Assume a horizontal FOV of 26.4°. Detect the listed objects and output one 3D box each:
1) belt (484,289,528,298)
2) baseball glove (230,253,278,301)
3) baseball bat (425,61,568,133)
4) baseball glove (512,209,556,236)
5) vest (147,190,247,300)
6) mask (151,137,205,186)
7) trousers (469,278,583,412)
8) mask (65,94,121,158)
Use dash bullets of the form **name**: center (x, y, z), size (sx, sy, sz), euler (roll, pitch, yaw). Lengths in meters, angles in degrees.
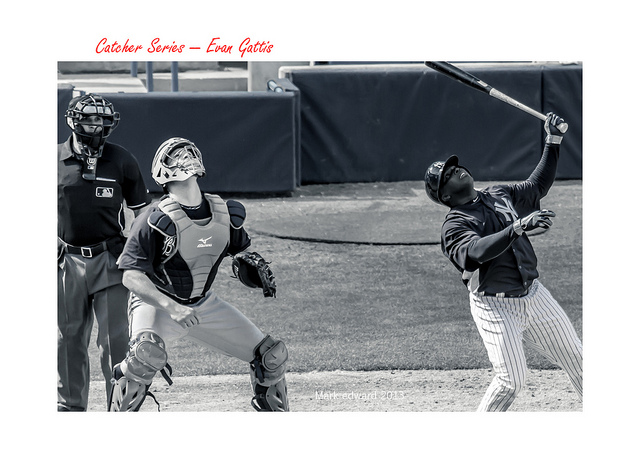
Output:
- **belt**: center (1.900, 0.584, 13.972), size (0.444, 0.062, 0.086), euler (-6, -4, 4)
- **baseball glove**: center (-0.677, 0.368, 14.179), size (0.507, 0.364, 0.217), euler (32, 39, 13)
- **baseball bat**: center (1.688, -1.711, 15.104), size (1.323, 0.136, 0.144), euler (30, 11, 33)
- **baseball glove**: center (2.119, -0.128, 13.571), size (0.371, 0.238, 0.135), euler (-24, -25, -1)
- **vest**: center (-1.248, 0.092, 13.895), size (0.959, 1.023, 0.288), euler (-5, -4, -11)
- **mask**: center (-1.394, -0.735, 14.012), size (0.542, 0.468, 0.409), euler (-48, -26, 20)
- **trousers**: center (2.116, 1.097, 14.057), size (1.109, 0.921, 0.297), euler (-5, -4, -10)
- **mask**: center (-2.435, -1.246, 14.530), size (0.433, 0.732, 0.406), euler (-16, 25, -33)
